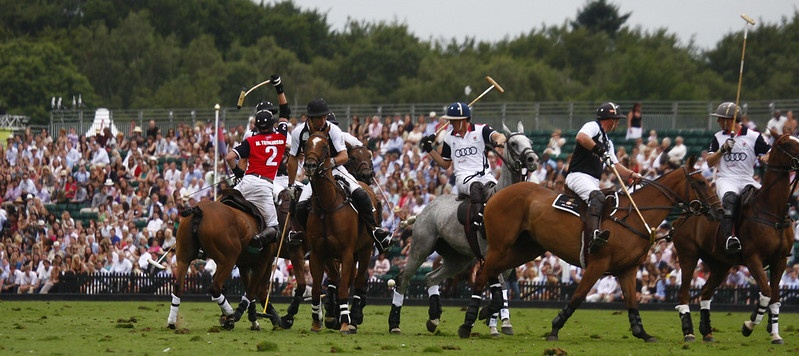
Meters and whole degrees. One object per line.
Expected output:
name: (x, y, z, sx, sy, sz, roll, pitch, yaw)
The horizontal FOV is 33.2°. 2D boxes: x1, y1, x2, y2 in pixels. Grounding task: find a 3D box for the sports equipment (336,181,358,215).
sports equipment: (-2.979, 1.217, 73.404, 0.474, 2.006, 0.676, -44, 15, -15)
